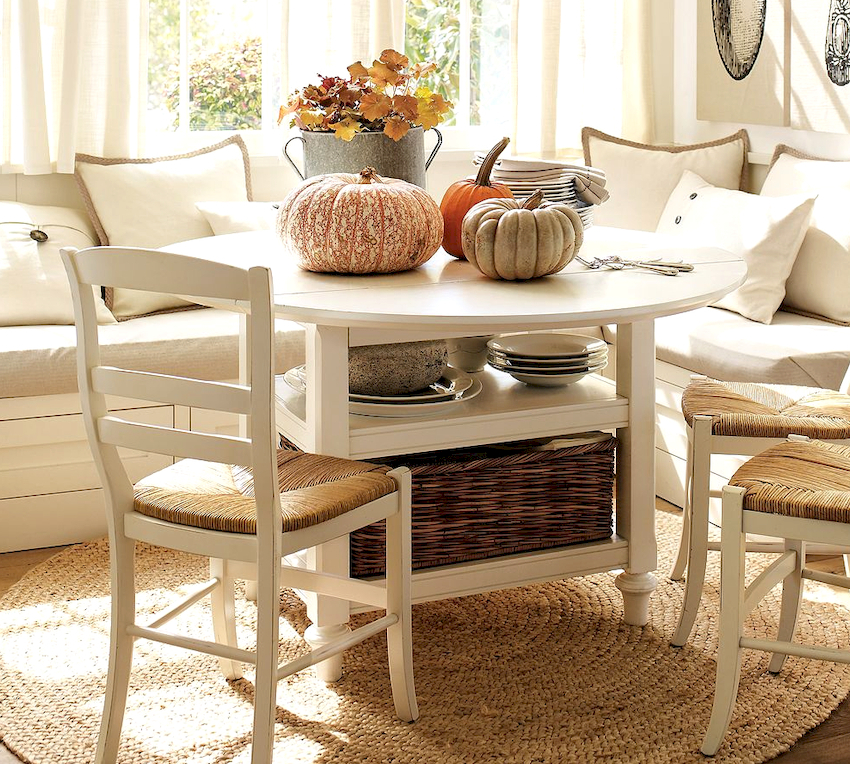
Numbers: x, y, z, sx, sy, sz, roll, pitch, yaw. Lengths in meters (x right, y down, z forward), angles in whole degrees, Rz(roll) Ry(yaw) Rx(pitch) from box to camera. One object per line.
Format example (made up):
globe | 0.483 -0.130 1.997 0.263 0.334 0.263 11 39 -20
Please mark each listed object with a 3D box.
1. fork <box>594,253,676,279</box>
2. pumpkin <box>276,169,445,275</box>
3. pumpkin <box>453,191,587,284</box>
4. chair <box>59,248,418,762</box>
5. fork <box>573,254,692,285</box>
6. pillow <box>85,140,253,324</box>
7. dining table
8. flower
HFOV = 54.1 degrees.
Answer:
fork | 0.423 -0.242 1.700 0.216 0.028 0.053 6 24 27
pumpkin | -0.107 -0.279 1.574 0.266 0.144 0.231 -1 10 -5
pumpkin | 0.182 -0.275 1.626 0.218 0.135 0.193 -10 15 -28
chair | -0.291 0.220 1.382 0.435 0.886 0.376 6 17 22
fork | 0.422 -0.237 1.713 0.238 0.018 0.075 5 19 26
pillow | -0.950 -0.497 2.922 0.673 0.554 0.193 -11 -6 -42
dining table | 0.035 0.010 1.879 1.143 0.611 1.038 -6 15 -22
flower | -0.122 -0.658 1.928 0.375 0.142 0.385 13 18 21
